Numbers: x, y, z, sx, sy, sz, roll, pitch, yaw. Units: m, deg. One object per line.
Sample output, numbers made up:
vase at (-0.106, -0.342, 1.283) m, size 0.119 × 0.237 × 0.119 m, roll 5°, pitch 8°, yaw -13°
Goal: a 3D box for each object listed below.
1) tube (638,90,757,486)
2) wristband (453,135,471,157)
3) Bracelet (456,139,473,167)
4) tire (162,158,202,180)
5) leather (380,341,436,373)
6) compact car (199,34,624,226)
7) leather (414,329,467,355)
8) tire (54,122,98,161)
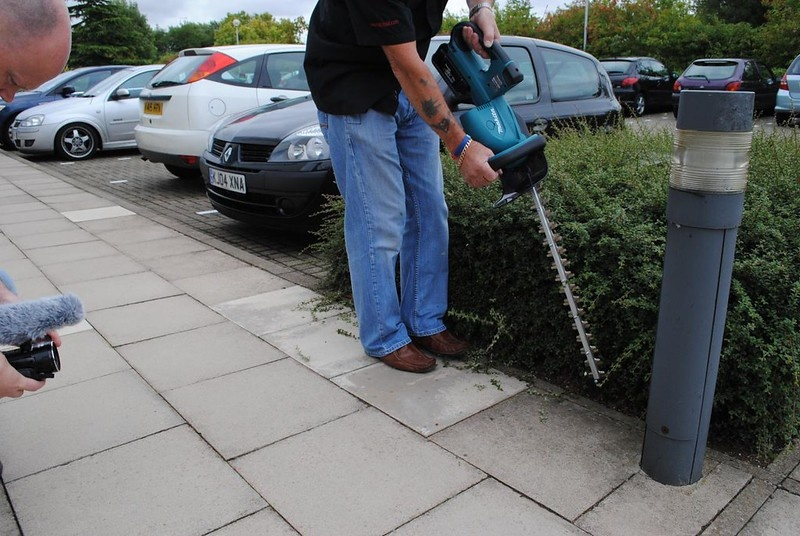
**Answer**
tube at (1.262, 0.132, 2.225) m, size 0.326 × 1.679 × 0.545 m, roll 8°, pitch 27°, yaw 25°
wristband at (0.326, -0.635, 2.733) m, size 0.031 × 0.110 × 0.104 m, roll 34°, pitch 17°, yaw -2°
Bracelet at (0.330, -0.609, 2.747) m, size 0.039 × 0.124 × 0.093 m, roll 22°, pitch 12°, yaw -1°
tire at (-3.470, -1.590, 8.275) m, size 0.672 × 0.224 × 0.679 m, roll 12°, pitch 16°, yaw 41°
leather at (0.047, 0.543, 3.212) m, size 0.308 × 0.121 × 0.164 m, roll 6°, pitch 8°, yaw 22°
compact car at (0.354, -1.400, 5.920) m, size 4.390 × 1.520 × 2.336 m, roll -8°, pitch 18°, yaw -32°
leather at (0.277, 0.501, 3.412) m, size 0.385 × 0.150 × 0.140 m, roll 9°, pitch 3°, yaw 23°
tire at (-7.180, -2.839, 11.424) m, size 0.646 × 0.620 × 0.209 m, roll -28°, pitch 25°, yaw -29°
